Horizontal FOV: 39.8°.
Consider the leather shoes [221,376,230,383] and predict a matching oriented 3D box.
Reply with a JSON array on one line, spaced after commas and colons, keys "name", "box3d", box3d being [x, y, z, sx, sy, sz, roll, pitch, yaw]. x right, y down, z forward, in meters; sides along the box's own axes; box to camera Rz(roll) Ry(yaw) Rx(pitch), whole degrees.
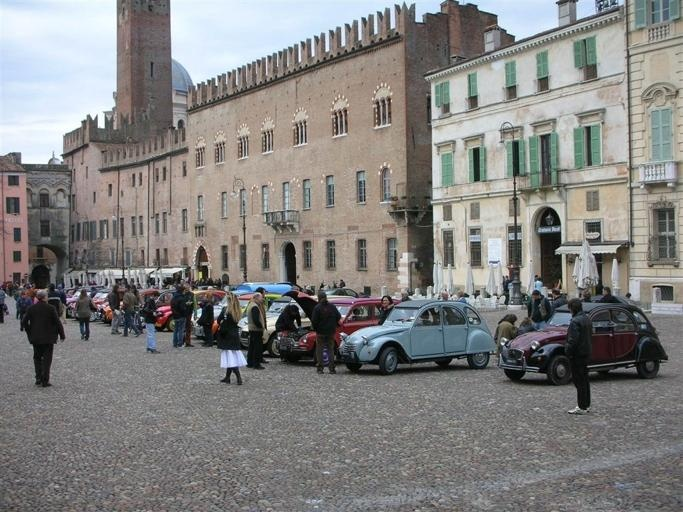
[{"name": "leather shoes", "box3d": [-2.797, 2.946, 22.453, 0.271, 0.188, 0.094, 5, 3, 30]}]

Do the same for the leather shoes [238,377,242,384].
[{"name": "leather shoes", "box3d": [-2.429, 2.944, 22.310, 0.104, 0.171, 0.244, -1, -3, -9]}]

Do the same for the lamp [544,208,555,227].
[{"name": "lamp", "box3d": [10.320, -1.914, 46.772, 0.577, 1.026, 0.591, 3, 2, -42]}]

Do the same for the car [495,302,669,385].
[{"name": "car", "box3d": [5.707, 2.150, 22.767, 3.355, 1.584, 1.949, 2, -6, -25]}]

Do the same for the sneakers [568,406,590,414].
[{"name": "sneakers", "box3d": [4.723, 3.082, 18.784, 0.452, 0.206, 0.170, 1, 1, 10]}]

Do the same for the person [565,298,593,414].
[{"name": "person", "box3d": [4.934, 2.154, 19.644, 0.585, 2.563, 0.894, -7, -36, 28]}]

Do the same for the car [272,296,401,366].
[{"name": "car", "box3d": [-0.025, 2.174, 27.133, 3.151, 1.494, 1.723, 1, -5, -38]}]
